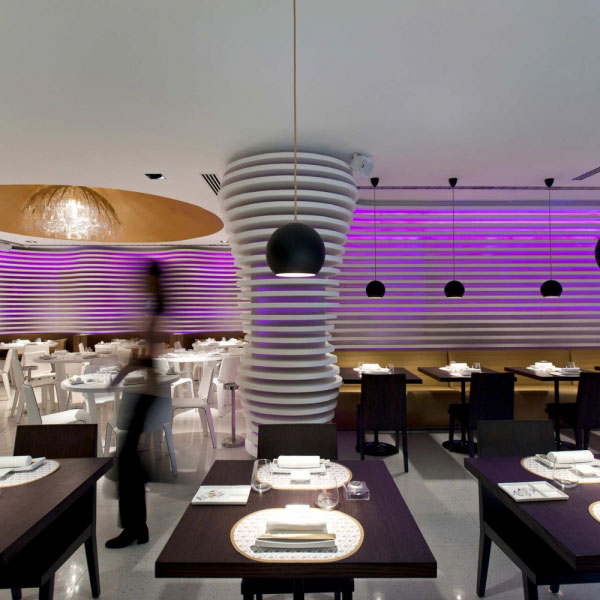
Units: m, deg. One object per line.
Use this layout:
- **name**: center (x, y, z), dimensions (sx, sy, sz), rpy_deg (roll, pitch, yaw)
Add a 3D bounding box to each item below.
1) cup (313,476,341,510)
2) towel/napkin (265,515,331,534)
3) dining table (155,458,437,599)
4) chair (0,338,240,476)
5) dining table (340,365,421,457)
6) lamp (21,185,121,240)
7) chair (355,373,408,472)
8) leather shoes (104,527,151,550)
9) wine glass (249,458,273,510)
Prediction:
- **cup**: center (0.116, 0.909, 2.628), dimensions (0.087, 0.131, 0.094), rpy_deg (0, 3, 0)
- **towel/napkin**: center (-0.015, 0.941, 2.391), dimensions (0.255, 0.041, 0.161), rpy_deg (-1, 1, -1)
- **dining table**: center (0.030, 1.225, 2.598), dimensions (1.092, 0.639, 0.924), rpy_deg (-1, 1, 4)
- **chair**: center (-1.529, 1.002, 5.869), dimensions (1.713, 0.780, 1.520), rpy_deg (-1, -5, -2)
- **dining table**: center (0.826, 1.127, 6.003), dimensions (1.029, 0.778, 0.917), rpy_deg (0, 1, 0)
- **lamp**: center (-3.147, -1.191, 7.699), dimensions (0.892, 0.299, 0.794), rpy_deg (2, 2, 4)
- **chair**: center (0.790, 1.106, 5.380), dimensions (0.493, 0.866, 0.795), rpy_deg (-1, 1, 5)
- **leather shoes**: center (-1.159, 1.611, 3.773), dimensions (0.240, 0.085, 0.106), rpy_deg (2, -9, -4)
- **wine glass**: center (-0.175, 0.876, 2.743), dimensions (0.159, 0.179, 0.150), rpy_deg (-1, -2, 7)
